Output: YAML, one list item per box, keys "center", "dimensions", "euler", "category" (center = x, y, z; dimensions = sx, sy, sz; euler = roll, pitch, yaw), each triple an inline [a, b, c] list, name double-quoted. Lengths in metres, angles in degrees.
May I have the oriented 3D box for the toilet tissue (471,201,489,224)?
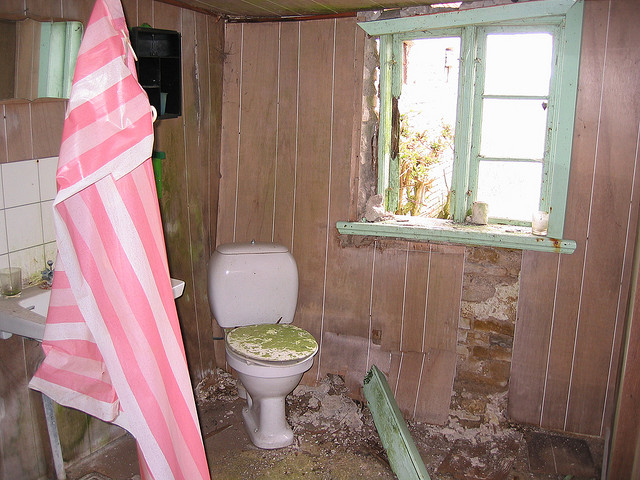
- center: [0.973, -0.172, 2.958]
  dimensions: [0.112, 0.135, 0.121]
  euler: [1, 3, 29]
  category: "toilet tissue"

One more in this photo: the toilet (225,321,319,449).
- center: [-0.315, 0.869, 2.891]
  dimensions: [0.533, 0.597, 0.601]
  euler: [-4, 11, -40]
  category: "toilet"

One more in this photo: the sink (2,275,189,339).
- center: [-0.746, 0.214, 1.528]
  dimensions: [0.185, 0.095, 0.274]
  euler: [15, 11, 25]
  category: "sink"

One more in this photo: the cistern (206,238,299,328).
- center: [-0.430, 0.213, 3.195]
  dimensions: [0.629, 0.672, 0.479]
  euler: [-2, 14, -9]
  category: "cistern"

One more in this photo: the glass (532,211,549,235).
- center: [1.279, -0.103, 2.821]
  dimensions: [0.086, 0.127, 0.122]
  euler: [8, 12, 23]
  category: "glass"

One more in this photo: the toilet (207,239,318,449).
- center: [-0.260, 0.668, 2.944]
  dimensions: [0.618, 1.228, 0.724]
  euler: [-4, 17, -25]
  category: "toilet"
